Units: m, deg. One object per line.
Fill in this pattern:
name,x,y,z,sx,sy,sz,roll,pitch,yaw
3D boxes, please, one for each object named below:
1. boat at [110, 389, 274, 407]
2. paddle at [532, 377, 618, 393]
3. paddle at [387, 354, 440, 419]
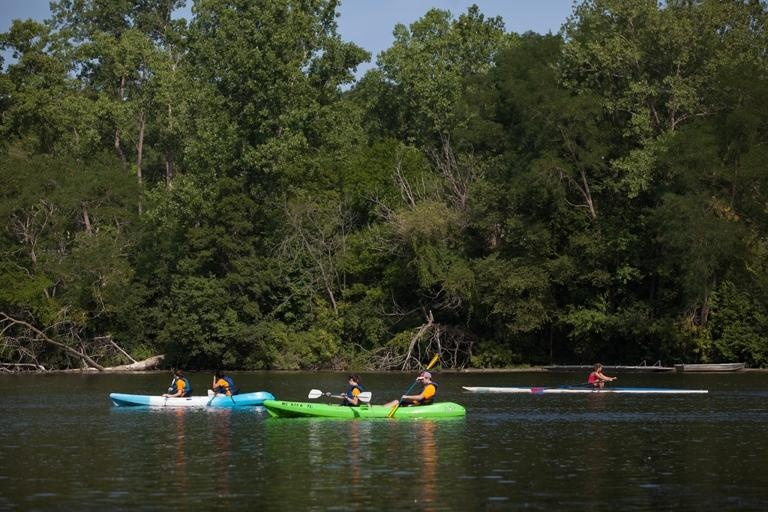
boat,-10.874,8.093,66.096,8.425,0.964,0.727,1,-5,0
paddle,11.903,8.023,72.565,3.533,0.503,0.803,-2,3,-6
paddle,1.722,7.855,70.203,0.440,3.915,0.522,42,11,-28
